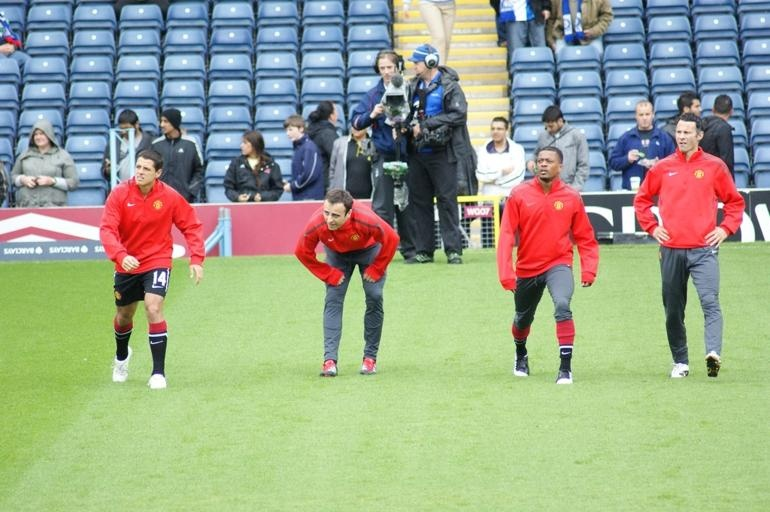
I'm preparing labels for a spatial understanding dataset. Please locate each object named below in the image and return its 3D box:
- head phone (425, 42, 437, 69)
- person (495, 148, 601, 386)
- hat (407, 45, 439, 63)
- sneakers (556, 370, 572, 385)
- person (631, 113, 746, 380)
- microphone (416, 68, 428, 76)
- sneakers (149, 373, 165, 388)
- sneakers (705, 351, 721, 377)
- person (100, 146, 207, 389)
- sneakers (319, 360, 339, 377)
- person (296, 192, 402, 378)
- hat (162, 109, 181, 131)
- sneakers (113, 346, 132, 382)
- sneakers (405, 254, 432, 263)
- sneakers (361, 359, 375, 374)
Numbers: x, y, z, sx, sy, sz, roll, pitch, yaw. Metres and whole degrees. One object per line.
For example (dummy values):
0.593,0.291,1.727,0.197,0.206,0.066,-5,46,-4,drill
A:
0.582,-2.486,14.815,0.194,0.283,0.419,-2,13,0,head phone
1.556,0.100,11.192,0.926,2.182,0.842,0,14,7,person
0.482,-2.535,14.794,0.367,0.167,0.255,0,8,6,hat
1.711,1.128,11.109,0.159,0.134,0.303,0,13,7,sneakers
2.903,-0.094,11.240,1.018,2.467,0.992,1,15,12,person
0.478,-2.306,14.907,0.106,0.087,0.078,-30,16,-17,microphone
-2.149,1.176,11.076,0.169,0.136,0.207,-4,14,-12,sneakers
3.074,1.024,10.975,0.105,0.281,0.133,4,39,21,sneakers
-2.227,0.119,11.236,0.950,2.203,0.798,-6,15,-16,person
-0.548,1.102,11.439,0.141,0.118,0.284,0,-8,-4,sneakers
-0.354,0.242,11.475,0.999,1.868,0.631,-4,15,-10,person
-2.925,-1.856,16.158,0.222,0.294,0.417,1,14,12,hat
-2.567,1.083,11.413,0.146,0.380,0.173,1,11,-5,sneakers
0.446,0.046,15.814,0.366,0.127,0.123,2,-3,-7,sneakers
-0.160,1.086,11.480,0.128,0.114,0.309,1,-6,2,sneakers
